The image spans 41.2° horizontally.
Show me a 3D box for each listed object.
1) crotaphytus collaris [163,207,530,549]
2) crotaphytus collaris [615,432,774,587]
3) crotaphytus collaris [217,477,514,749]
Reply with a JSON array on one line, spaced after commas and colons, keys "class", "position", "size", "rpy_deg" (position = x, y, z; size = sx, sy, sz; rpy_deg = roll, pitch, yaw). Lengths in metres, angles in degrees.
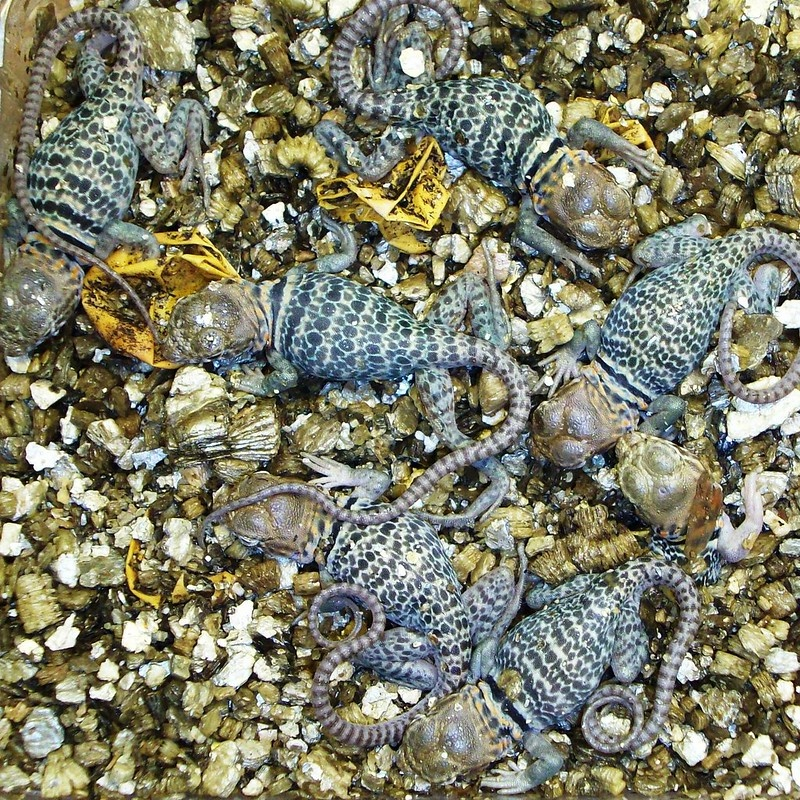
[{"class": "crotaphytus collaris", "position": [-0.166, -0.226, 4.061], "size": [1.079, 0.332, 1.062], "rpy_deg": [9, 94, -2]}, {"class": "crotaphytus collaris", "position": [1.052, 0.394, 3.988], "size": [0.486, 0.256, 0.559], "rpy_deg": [-38, 83, -7]}, {"class": "crotaphytus collaris", "position": [-0.110, 0.683, 4.026], "size": [1.005, 0.304, 0.823], "rpy_deg": [43, 80, 4]}]
